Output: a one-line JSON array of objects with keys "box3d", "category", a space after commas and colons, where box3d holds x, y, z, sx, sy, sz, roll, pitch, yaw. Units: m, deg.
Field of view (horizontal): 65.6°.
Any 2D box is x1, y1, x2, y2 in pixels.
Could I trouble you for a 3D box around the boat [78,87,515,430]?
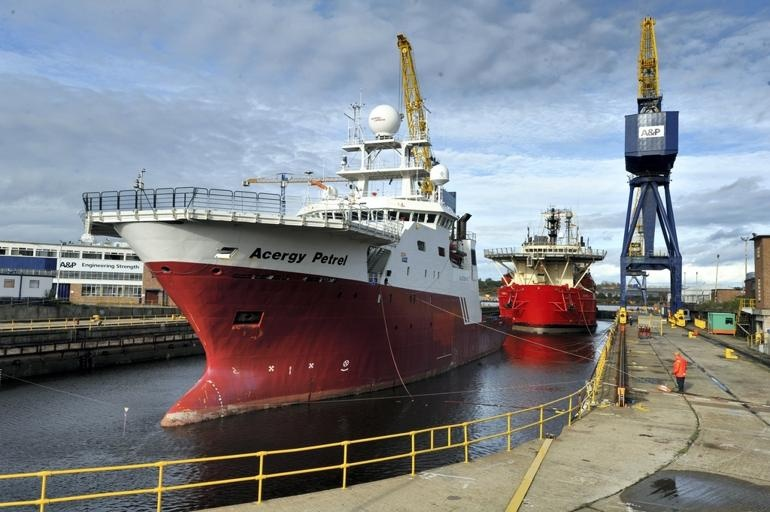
[{"box3d": [-1.915, 1.045, 33.913, 12.867, 11.353, 30.413, -7, -7, 26], "category": "boat"}]
